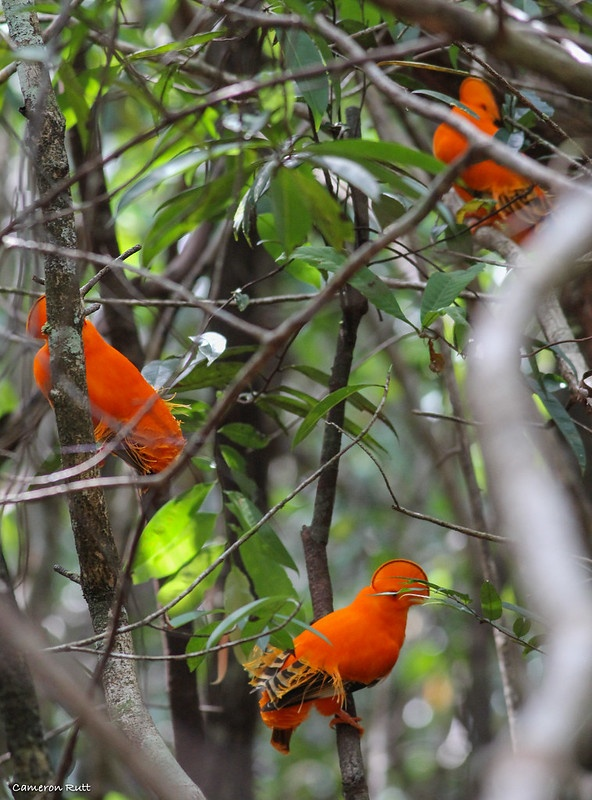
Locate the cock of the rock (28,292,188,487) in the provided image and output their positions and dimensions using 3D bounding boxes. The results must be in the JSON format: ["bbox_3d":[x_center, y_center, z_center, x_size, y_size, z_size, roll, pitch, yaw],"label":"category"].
[{"bbox_3d":[-0.279,-0.017,1.341,0.204,0.287,0.283,-9,14,-14],"label":"cock of the rock"}]

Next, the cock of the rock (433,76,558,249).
[{"bbox_3d":[0.344,-0.435,1.608,0.195,0.311,0.344,-5,14,0],"label":"cock of the rock"}]
